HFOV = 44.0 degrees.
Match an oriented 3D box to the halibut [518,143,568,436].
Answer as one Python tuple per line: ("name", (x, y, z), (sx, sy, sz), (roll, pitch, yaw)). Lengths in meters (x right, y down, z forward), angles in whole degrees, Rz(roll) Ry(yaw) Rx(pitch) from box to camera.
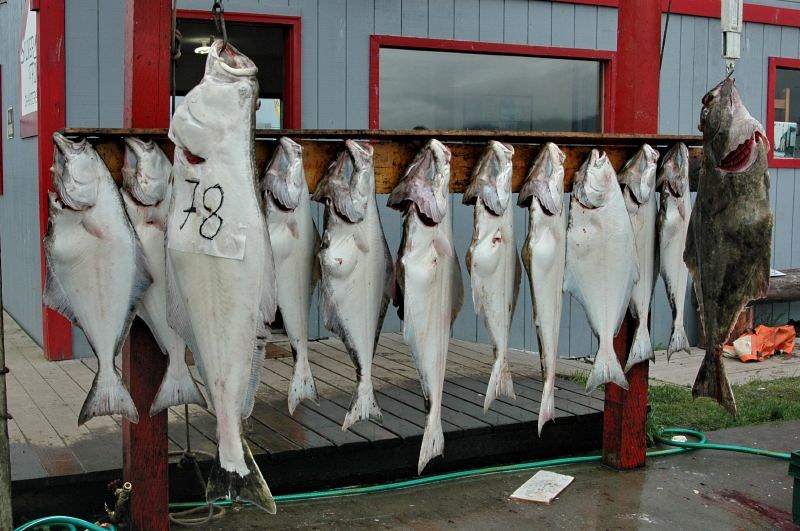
("halibut", (0.912, 0.104, 6.414), (0.293, 1.777, 0.368), (7, 10, 39))

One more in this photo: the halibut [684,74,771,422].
("halibut", (2.124, -0.138, 6.444), (0.539, 2.180, 0.446), (3, 8, 20))

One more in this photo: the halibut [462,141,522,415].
("halibut", (0.573, 0.044, 6.254), (0.375, 1.645, 0.403), (1, 8, 6))

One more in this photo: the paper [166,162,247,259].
("paper", (-1.119, -0.329, 5.828), (0.473, 0.572, 0.076), (2, 7, -7))

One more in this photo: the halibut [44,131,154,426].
("halibut", (-1.814, 0.081, 5.891), (0.613, 1.717, 0.277), (-1, 8, -11))

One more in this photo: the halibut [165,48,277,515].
("halibut", (-1.062, 0.131, 5.801), (0.632, 2.611, 0.302), (0, 8, -5))

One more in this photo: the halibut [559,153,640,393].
("halibut", (1.322, 0.032, 6.515), (0.473, 1.586, 0.348), (2, 8, 13))

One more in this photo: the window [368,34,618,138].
("window", (0.833, -1.855, 10.037), (1.487, 0.949, 0.087), (0, -2, -21))

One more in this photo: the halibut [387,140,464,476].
("halibut", (0.185, 0.254, 6.207), (0.478, 2.079, 0.449), (-2, 8, -19))

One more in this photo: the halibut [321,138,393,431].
("halibut", (-0.310, 0.099, 6.050), (0.430, 1.704, 0.327), (0, 8, -7))
